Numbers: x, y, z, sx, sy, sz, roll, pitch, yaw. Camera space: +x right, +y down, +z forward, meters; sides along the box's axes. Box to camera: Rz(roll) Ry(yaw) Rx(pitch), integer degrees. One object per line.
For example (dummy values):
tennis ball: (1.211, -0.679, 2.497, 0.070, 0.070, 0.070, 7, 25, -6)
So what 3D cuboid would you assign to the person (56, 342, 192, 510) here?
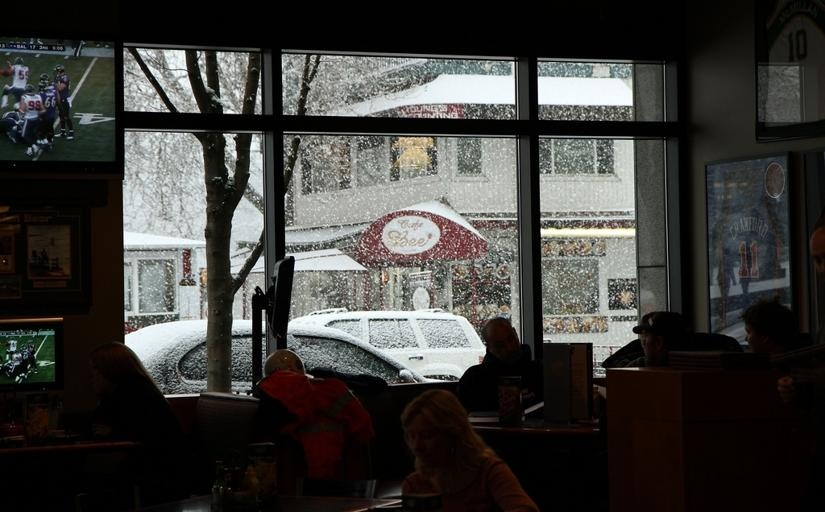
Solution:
person: (-2.000, 1.229, 6.626, 0.762, 1.157, 0.342, -1, -1, -6)

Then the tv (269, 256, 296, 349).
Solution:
tv: (-1.066, 0.341, 7.328, 0.216, 0.636, 0.143, -2, -2, 9)

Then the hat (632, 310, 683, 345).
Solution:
hat: (1.917, 0.554, 7.135, 0.278, 0.211, 0.379, 2, 2, -33)

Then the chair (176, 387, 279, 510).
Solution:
chair: (-1.615, 1.454, 6.887, 0.730, 1.022, 0.756, -4, -8, 32)

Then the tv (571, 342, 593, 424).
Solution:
tv: (1.211, 0.911, 6.422, 0.179, 0.557, 0.071, -1, -2, -14)

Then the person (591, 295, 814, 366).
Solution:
person: (2.337, 0.587, 6.518, 1.088, 0.385, 0.792, -2, -4, -9)

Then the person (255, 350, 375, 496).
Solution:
person: (-0.838, 1.101, 6.936, 0.768, 0.436, 1.072, -11, 39, -39)

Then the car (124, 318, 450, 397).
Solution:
car: (-1.357, 0.848, 8.299, 2.293, 0.905, 1.072, -1, -4, -22)
